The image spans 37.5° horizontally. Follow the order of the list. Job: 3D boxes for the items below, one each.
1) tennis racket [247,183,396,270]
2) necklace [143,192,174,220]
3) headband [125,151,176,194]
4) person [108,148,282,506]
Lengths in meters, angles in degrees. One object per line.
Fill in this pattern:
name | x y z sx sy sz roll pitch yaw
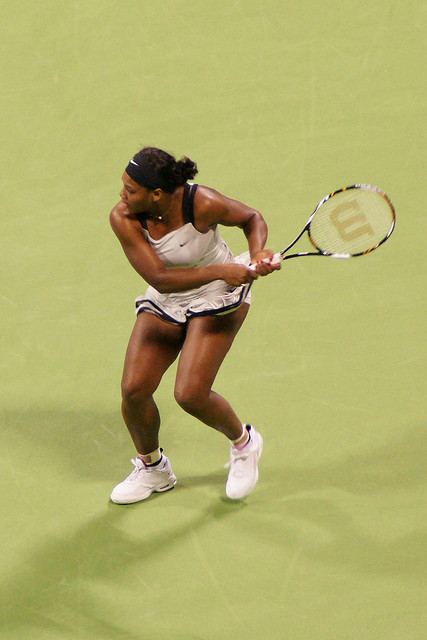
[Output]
tennis racket | 0.477 -0.357 2.429 0.572 0.419 0.409 6 30 -2
necklace | -0.230 -0.473 2.577 0.110 0.090 0.028 10 23 35
headband | -0.266 -0.565 2.480 0.083 0.178 0.131 -58 16 -2
person | -0.097 0.074 2.835 0.752 1.679 0.787 2 37 4
